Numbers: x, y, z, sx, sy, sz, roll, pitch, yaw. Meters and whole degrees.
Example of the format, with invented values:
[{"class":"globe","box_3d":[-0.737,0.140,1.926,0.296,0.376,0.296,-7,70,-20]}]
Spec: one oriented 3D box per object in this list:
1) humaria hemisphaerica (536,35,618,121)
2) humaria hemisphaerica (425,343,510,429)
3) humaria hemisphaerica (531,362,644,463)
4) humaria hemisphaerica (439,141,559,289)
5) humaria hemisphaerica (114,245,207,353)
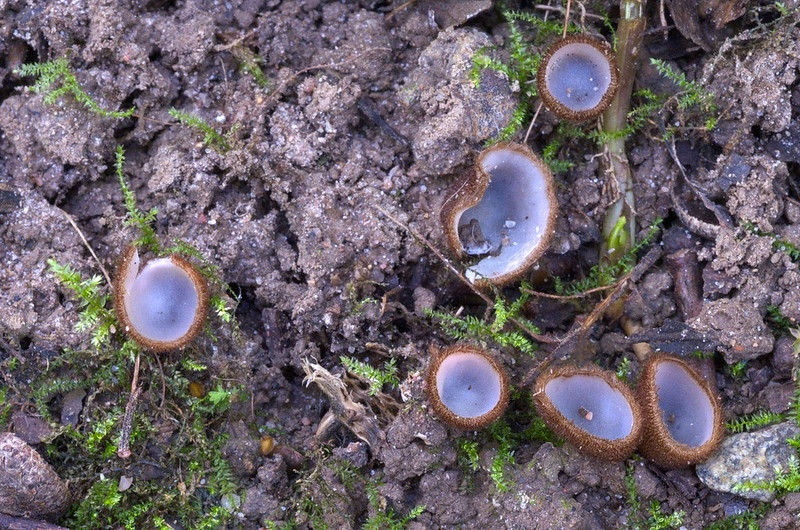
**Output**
[{"class":"humaria hemisphaerica","box_3d":[1.275,-1.287,5.238,0.521,0.184,0.628,11,91,0]},{"class":"humaria hemisphaerica","box_3d":[0.462,0.812,5.209,0.557,0.250,0.482,-4,51,3]},{"class":"humaria hemisphaerica","box_3d":[1.315,0.995,5.295,0.587,0.249,0.700,-37,73,-7]},{"class":"humaria hemisphaerica","box_3d":[0.711,-0.331,5.471,0.815,0.760,0.719,-17,50,-8]},{"class":"humaria hemisphaerica","box_3d":[-1.641,0.221,5.226,0.606,0.442,0.536,-2,50,4]}]
